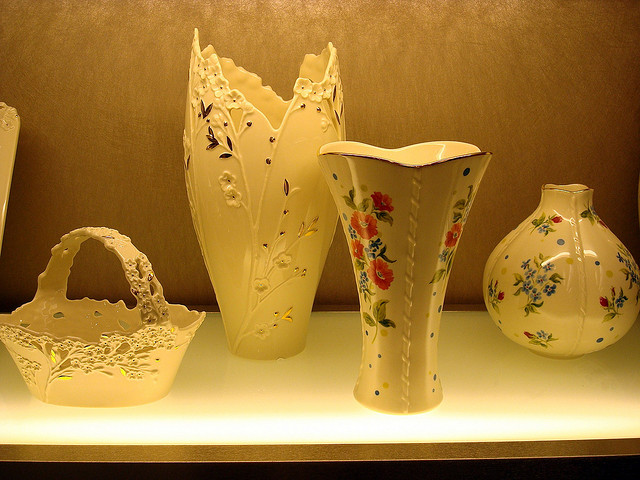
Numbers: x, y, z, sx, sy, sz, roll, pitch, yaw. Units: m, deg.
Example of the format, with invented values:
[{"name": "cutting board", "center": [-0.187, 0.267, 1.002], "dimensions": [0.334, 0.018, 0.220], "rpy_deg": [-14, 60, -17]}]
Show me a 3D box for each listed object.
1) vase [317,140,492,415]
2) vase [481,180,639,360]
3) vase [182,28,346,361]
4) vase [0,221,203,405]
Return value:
[{"name": "vase", "center": [0.124, 0.035, 0.998], "dimensions": [0.229, 0.471, 0.306], "rpy_deg": [1, 23, 7]}, {"name": "vase", "center": [0.394, 0.033, 1.148], "dimensions": [0.253, 0.339, 0.279], "rpy_deg": [1, 6, -7]}, {"name": "vase", "center": [-0.067, -0.126, 1.440], "dimensions": [0.416, 0.940, 0.495], "rpy_deg": [2, 6, 8]}, {"name": "vase", "center": [-0.384, 0.094, 1.087], "dimensions": [0.352, 0.274, 0.416], "rpy_deg": [4, 14, -10]}]
